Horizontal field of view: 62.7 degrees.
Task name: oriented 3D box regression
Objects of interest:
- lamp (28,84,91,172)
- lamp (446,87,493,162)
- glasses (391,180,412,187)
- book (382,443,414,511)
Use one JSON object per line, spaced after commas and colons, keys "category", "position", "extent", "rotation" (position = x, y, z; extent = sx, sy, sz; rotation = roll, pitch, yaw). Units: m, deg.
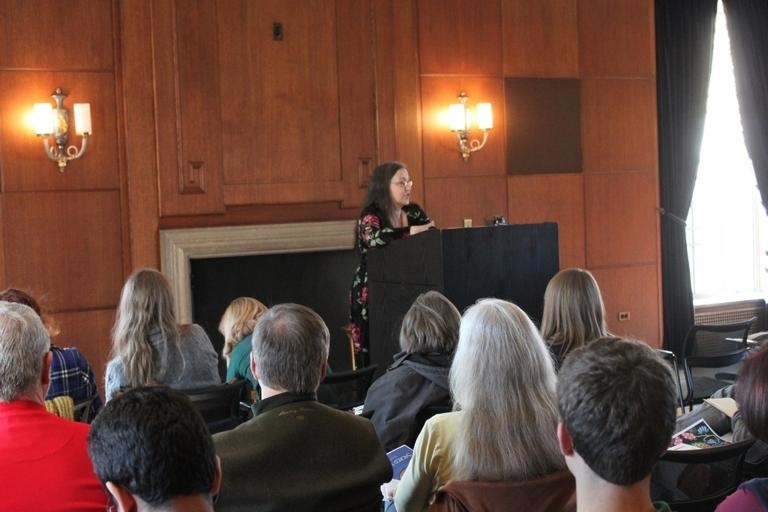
{"category": "lamp", "position": [-2.837, -1.112, 5.530], "extent": [0.530, 0.794, 0.165], "rotation": [-3, 1, -15]}
{"category": "lamp", "position": [0.844, -1.379, 6.563], "extent": [0.672, 0.985, 0.280], "rotation": [-5, 5, -37]}
{"category": "glasses", "position": [0.114, -0.547, 4.757], "extent": [0.086, 0.027, 0.084], "rotation": [-1, -1, 44]}
{"category": "book", "position": [0.049, 0.993, 2.834], "extent": [0.057, 0.246, 0.253], "rotation": [13, -18, -29]}
